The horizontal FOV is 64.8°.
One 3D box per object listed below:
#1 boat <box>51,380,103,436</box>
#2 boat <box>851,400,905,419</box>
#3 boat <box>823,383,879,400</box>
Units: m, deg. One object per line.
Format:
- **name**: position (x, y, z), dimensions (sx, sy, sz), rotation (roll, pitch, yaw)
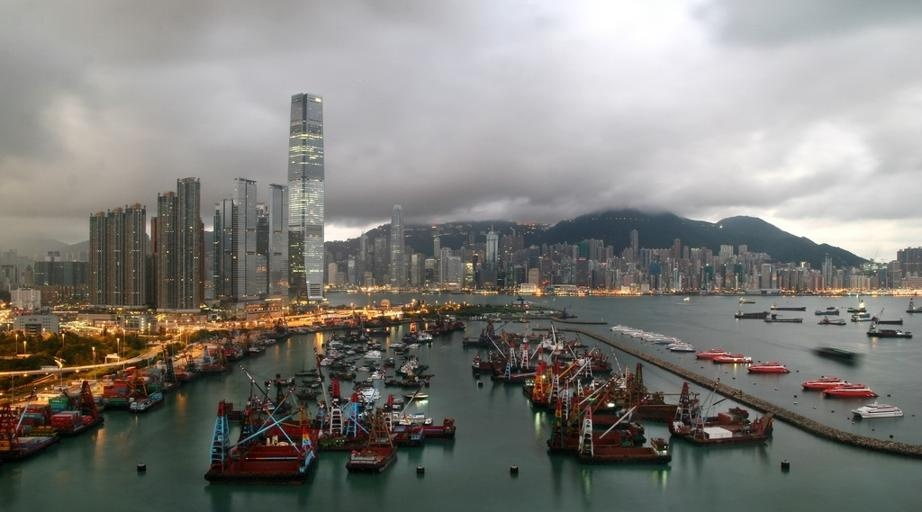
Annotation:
- **boat**: position (-19.193, 7.962, 36.166), dimensions (1.299, 1.820, 4.067), rotation (0, -7, -8)
- **boat**: position (21.789, 7.844, 37.165), dimensions (3.309, 1.027, 0.903), rotation (-3, 2, 3)
- **boat**: position (21.195, 7.351, 39.360), dimensions (2.386, 0.603, 1.005), rotation (0, -2, 2)
